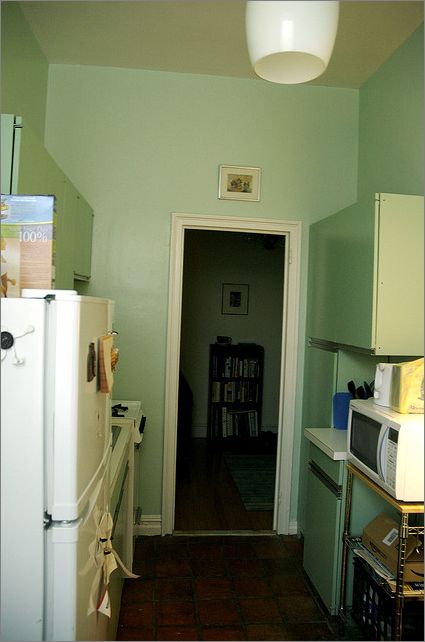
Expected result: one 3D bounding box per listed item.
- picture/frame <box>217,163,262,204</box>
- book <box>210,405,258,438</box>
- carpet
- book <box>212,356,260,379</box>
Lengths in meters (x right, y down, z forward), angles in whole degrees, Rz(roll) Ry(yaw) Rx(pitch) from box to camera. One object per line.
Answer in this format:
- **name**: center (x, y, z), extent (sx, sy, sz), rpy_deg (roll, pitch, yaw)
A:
- **picture/frame**: center (0.152, -0.867, 3.162), extent (0.233, 0.210, 0.018), rpy_deg (1, 4, -2)
- **book**: center (0.243, 1.074, 5.664), extent (0.535, 0.324, 0.547), rpy_deg (1, 3, 2)
- **carpet**: center (0.296, 1.320, 4.261), extent (0.472, 0.038, 1.523), rpy_deg (3, 1, 5)
- **book**: center (0.252, 0.509, 5.452), extent (0.514, 0.198, 0.061), rpy_deg (2, 1, -10)
